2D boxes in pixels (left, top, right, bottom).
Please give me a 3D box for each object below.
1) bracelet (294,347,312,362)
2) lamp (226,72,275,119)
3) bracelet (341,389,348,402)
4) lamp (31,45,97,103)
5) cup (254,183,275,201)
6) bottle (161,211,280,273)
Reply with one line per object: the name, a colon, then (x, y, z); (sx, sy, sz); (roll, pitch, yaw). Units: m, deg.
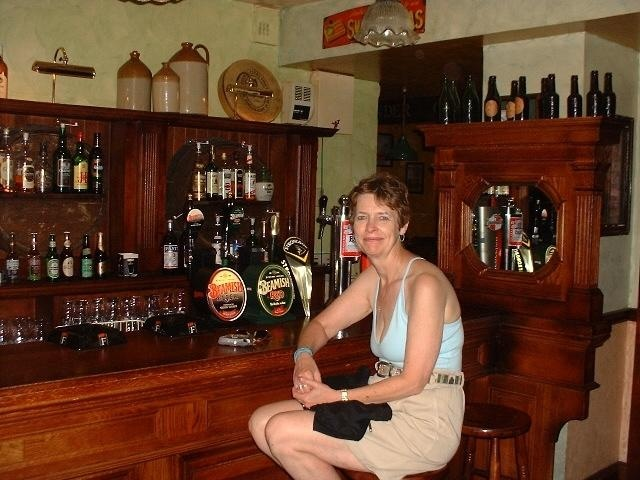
bracelet: (-0.069, 0.463, 2.098); (0.062, 0.050, 0.029); (4, 3, 4)
lamp: (-0.597, -1.260, 4.559); (0.470, 0.443, 0.107); (13, -17, -32)
bracelet: (0.089, 0.567, 1.911); (0.028, 0.038, 0.042); (-3, -5, 2)
lamp: (-1.767, -1.176, 3.636); (0.399, 0.436, 0.471); (-4, 3, -27)
cup: (-0.468, -0.403, 4.406); (0.150, 0.136, 0.147); (1, 2, 0)
bottle: (-0.639, 0.015, 3.157); (0.469, 0.437, 0.362); (-1, 4, -36)
